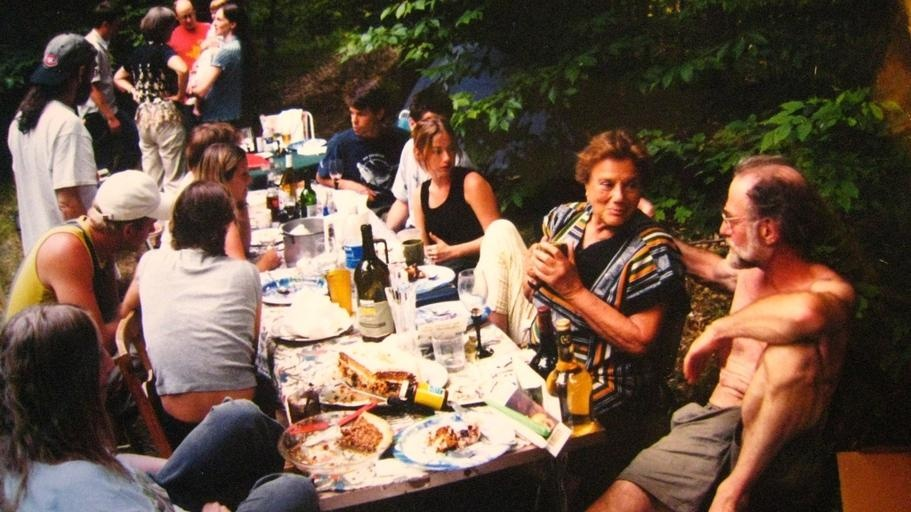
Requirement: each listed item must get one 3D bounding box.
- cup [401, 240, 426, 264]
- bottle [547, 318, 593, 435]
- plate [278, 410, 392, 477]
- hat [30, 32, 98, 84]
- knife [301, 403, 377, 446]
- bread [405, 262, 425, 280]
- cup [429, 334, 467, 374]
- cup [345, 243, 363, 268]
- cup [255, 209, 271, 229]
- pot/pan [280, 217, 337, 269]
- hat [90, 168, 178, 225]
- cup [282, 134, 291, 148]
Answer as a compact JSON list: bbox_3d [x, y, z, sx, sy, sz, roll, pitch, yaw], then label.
[{"bbox_3d":[-0.212,-0.015,3.627,0.145,0.098,0.087,-14,17,-6],"label":"cup"},{"bbox_3d":[0.469,0.481,2.777,0.206,0.474,0.180,1,4,4],"label":"bottle"},{"bbox_3d":[-0.482,0.742,2.739,0.311,0.065,0.299,7,24,17],"label":"plate"},{"bbox_3d":[-2.162,-1.070,3.801,0.211,0.162,0.316,26,45,10],"label":"hat"},{"bbox_3d":[-0.457,0.691,2.835,0.377,0.019,0.095,-20,36,-30],"label":"knife"},{"bbox_3d":[-0.217,0.080,3.484,0.024,0.081,0.092,-36,-14,38],"label":"bread"},{"bbox_3d":[-0.031,0.418,2.970,0.156,0.154,0.155,-7,2,0],"label":"cup"},{"bbox_3d":[-0.522,-0.002,3.486,0.093,0.097,0.093,2,20,-1],"label":"cup"},{"bbox_3d":[-1.251,-0.231,4.372,0.095,0.131,0.145,-1,16,-4],"label":"cup"},{"bbox_3d":[-0.828,-0.102,3.834,0.314,0.216,0.275,-15,20,-40],"label":"pot/pan"},{"bbox_3d":[-1.721,-0.323,3.691,0.386,0.210,0.242,-13,43,-33],"label":"hat"},{"bbox_3d":[-1.231,-0.822,4.952,0.060,0.091,0.054,5,54,-7],"label":"cup"}]
